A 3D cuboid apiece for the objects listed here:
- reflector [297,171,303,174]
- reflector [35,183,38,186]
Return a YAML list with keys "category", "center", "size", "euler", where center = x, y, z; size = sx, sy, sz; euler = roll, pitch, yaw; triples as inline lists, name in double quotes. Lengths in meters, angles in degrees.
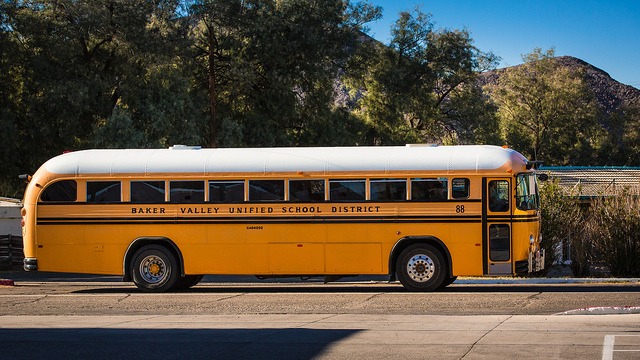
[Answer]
- category: "reflector"
  center: [-1.053, -0.373, 45.928]
  size: [0.164, 0.108, 0.089]
  euler: [-1, 5, 5]
- category: "reflector"
  center: [-15.190, 0.278, 46.673]
  size: [0.158, 0.143, 0.040]
  euler: [7, 0, 2]
